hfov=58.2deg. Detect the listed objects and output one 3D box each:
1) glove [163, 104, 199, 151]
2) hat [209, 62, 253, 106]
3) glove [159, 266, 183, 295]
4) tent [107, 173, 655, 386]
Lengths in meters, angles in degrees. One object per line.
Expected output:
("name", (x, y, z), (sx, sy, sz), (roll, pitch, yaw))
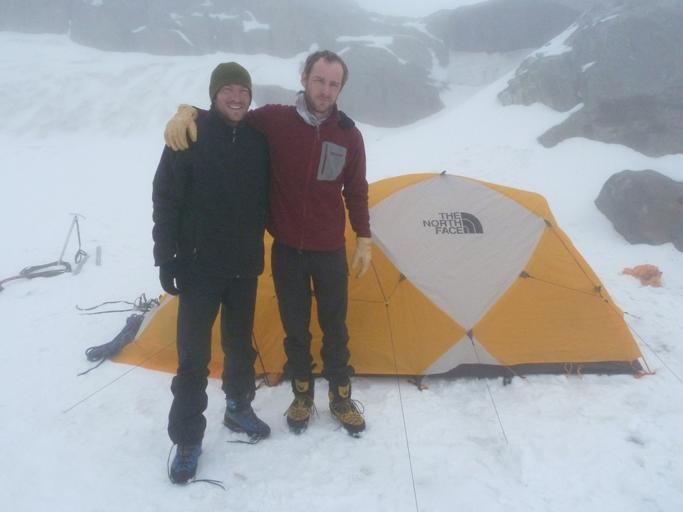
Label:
("glove", (-3.500, -2.791, 13.360), (0.729, 0.861, 0.602), (-3, 23, -11))
("hat", (-2.460, -3.789, 13.465), (0.894, 0.861, 0.409), (-4, 23, -12))
("glove", (-3.748, 0.516, 13.384), (0.582, 0.611, 0.442), (-3, 13, -28))
("tent", (1.751, 0.249, 18.094), (14.184, 5.141, 10.289), (1, 3, 14))
